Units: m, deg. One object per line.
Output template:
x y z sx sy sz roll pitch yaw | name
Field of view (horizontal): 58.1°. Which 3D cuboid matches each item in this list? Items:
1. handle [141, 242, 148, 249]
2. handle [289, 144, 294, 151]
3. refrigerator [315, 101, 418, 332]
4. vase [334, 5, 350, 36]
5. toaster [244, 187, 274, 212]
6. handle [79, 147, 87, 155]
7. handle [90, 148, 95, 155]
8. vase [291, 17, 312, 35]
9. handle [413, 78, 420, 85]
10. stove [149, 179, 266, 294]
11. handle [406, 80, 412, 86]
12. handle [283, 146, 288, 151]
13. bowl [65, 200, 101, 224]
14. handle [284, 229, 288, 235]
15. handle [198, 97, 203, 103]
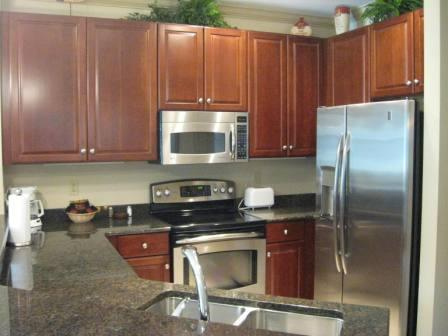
-0.641 0.608 3.185 0.043 0.045 0.013 -4 -4 -14 | handle
0.641 -0.196 3.839 0.038 0.072 0.052 -3 0 38 | handle
1.078 0.302 3.180 0.742 1.951 0.800 -5 8 -22 | refrigerator
1.189 -1.469 3.997 0.175 0.293 0.153 1 6 -3 | vase
0.338 0.260 4.039 0.369 0.298 0.188 -1 1 -21 | toaster
-1.150 -0.139 3.256 0.057 0.064 0.027 -1 7 -27 | handle
-1.084 -0.138 3.270 0.051 0.049 0.012 -6 8 -38 | handle
0.782 -1.445 4.098 0.191 0.251 0.362 2 6 8 | vase
1.529 -0.686 3.196 0.010 0.041 0.040 7 19 -41 | handle
-0.150 0.746 3.683 0.855 1.195 0.780 -3 8 -23 | stove
1.495 -0.686 3.246 0.034 0.046 0.018 2 -17 24 | handle
0.582 -0.187 3.827 0.060 0.046 0.015 -3 7 -37 | handle
-1.232 0.377 3.481 0.260 0.171 0.256 1 6 0 | bowl
0.554 0.570 3.625 0.037 0.069 0.037 0 2 -10 | handle
-0.214 -0.596 3.531 0.045 0.046 0.011 -9 -6 8 | handle
